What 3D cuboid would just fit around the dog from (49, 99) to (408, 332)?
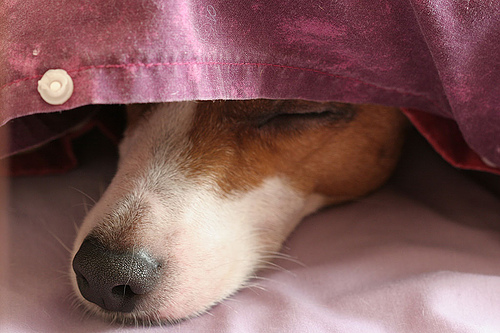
[{"bbox_3d":[-0.019,0.090,1.434,0.747,0.511,0.619,16,32,8],"label":"dog"}]
